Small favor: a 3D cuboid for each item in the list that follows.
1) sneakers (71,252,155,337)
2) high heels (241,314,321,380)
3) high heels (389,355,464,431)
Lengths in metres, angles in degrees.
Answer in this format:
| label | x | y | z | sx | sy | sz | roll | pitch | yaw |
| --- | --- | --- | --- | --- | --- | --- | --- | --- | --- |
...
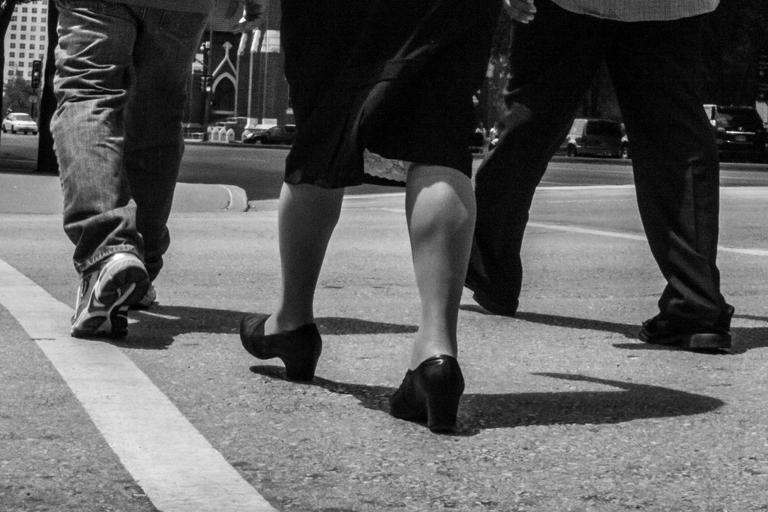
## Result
| label | x | y | z | sx | sy | sz | roll | pitch | yaw |
| --- | --- | --- | --- | --- | --- | --- | --- | --- | --- |
| sneakers | -1.139 | 0.165 | 3.324 | 0.218 | 0.464 | 0.222 | 13 | 31 | -33 |
| high heels | -0.368 | 0.284 | 2.836 | 0.351 | 0.146 | 0.195 | 25 | 37 | 35 |
| high heels | 0.148 | 0.425 | 2.521 | 0.260 | 0.205 | 0.526 | 4 | -9 | -6 |
